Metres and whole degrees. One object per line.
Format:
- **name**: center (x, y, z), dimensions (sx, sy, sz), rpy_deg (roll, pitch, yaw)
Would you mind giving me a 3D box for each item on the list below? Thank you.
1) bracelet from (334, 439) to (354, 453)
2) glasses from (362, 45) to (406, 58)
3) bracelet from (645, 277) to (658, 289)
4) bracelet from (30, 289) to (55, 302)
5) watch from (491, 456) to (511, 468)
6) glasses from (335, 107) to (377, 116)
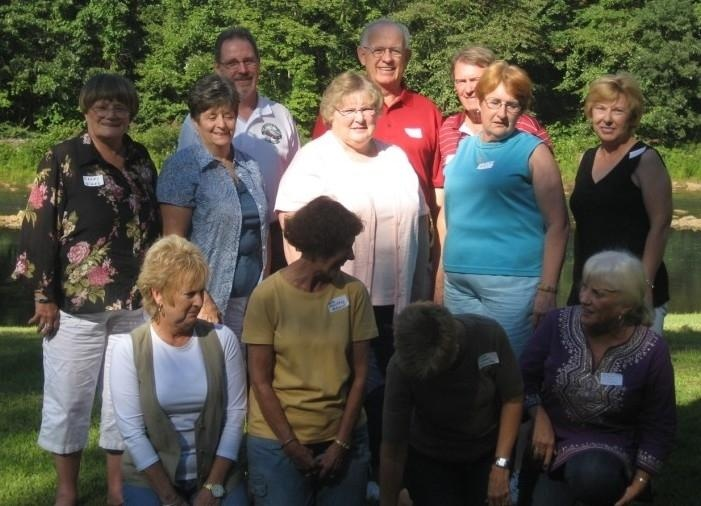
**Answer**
- **bracelet**: center (-0.035, 1.256, 5.677), dimensions (0.095, 0.030, 0.073), rpy_deg (20, 4, 24)
- **glasses**: center (0.301, -1.682, 7.248), dimensions (0.328, 0.097, 0.095), rpy_deg (-1, 0, -4)
- **bracelet**: center (2.121, 0.214, 6.147), dimensions (0.064, 0.046, 0.064), rpy_deg (24, 16, -51)
- **bracelet**: center (-2.164, 0.305, 6.193), dimensions (0.116, 0.044, 0.090), rpy_deg (9, 7, 37)
- **watch**: center (0.981, 1.349, 5.612), dimensions (0.092, 0.051, 0.090), rpy_deg (14, -11, 0)
- **glasses**: center (0.059, -1.056, 6.508), dimensions (0.277, 0.061, 0.046), rpy_deg (-1, 0, 0)
